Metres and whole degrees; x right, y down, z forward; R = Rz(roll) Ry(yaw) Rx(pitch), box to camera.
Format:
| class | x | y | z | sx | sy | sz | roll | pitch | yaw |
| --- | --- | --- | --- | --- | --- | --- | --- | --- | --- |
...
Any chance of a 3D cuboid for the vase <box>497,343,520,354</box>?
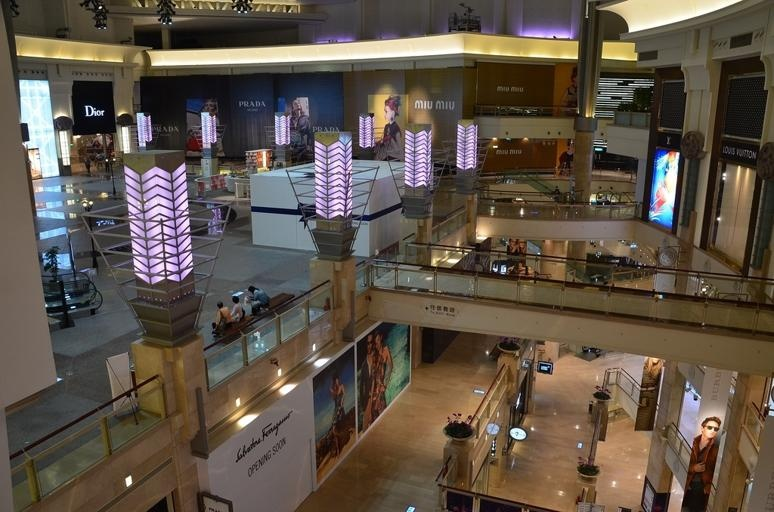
| class | x | y | z | sx | sy | sz | roll | pitch | yaw |
| --- | --- | --- | --- | --- | --- | --- | --- | --- | --- |
| vase | 3.879 | 2.941 | 17.567 | 0.608 | 0.208 | 0.419 | 2 | 15 | 20 |

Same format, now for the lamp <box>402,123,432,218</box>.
| class | x | y | z | sx | sy | sz | roll | pitch | yaw |
| --- | --- | --- | --- | --- | --- | --- | --- | --- | --- |
| lamp | 0.914 | -2.647 | 17.125 | 0.875 | 2.888 | 0.826 | 0 | 15 | 14 |

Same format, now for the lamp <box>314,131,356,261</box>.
| class | x | y | z | sx | sy | sz | roll | pitch | yaw |
| --- | --- | --- | --- | --- | --- | --- | --- | --- | --- |
| lamp | -1.310 | -1.517 | 13.412 | 1.236 | 3.007 | 1.251 | -9 | 16 | -36 |

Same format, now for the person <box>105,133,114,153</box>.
| class | x | y | z | sx | sy | sz | roll | pitch | yaw |
| --- | --- | --- | --- | --- | --- | --- | --- | --- | --- |
| person | -16.548 | -6.803 | 32.892 | 0.263 | 1.076 | 0.564 | -1 | 14 | 7 |

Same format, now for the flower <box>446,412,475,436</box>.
| class | x | y | z | sx | sy | sz | roll | pitch | yaw |
| --- | --- | --- | --- | --- | --- | --- | --- | --- | --- |
| flower | 1.908 | 4.388 | 14.286 | 0.732 | 0.405 | 0.726 | -7 | 15 | -21 |

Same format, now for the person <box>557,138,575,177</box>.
| class | x | y | z | sx | sy | sz | roll | pitch | yaw |
| --- | --- | --- | --- | --- | --- | --- | --- | --- | --- |
| person | 9.437 | -5.317 | 29.282 | 0.746 | 1.692 | 1.492 | 1 | 15 | 15 |

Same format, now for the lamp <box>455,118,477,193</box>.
| class | x | y | z | sx | sy | sz | roll | pitch | yaw |
| --- | --- | --- | --- | --- | --- | --- | --- | --- | --- |
| lamp | 2.892 | -3.634 | 20.069 | 0.747 | 2.646 | 0.388 | -3 | 14 | 0 |

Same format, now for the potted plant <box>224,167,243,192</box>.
| class | x | y | z | sx | sy | sz | roll | pitch | yaw |
| --- | --- | --- | --- | --- | --- | --- | --- | --- | --- |
| potted plant | -7.141 | -3.588 | 25.659 | 0.767 | 1.405 | 1.455 | 1 | 14 | 4 |

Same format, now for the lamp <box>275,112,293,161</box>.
| class | x | y | z | sx | sy | sz | roll | pitch | yaw |
| --- | --- | --- | --- | --- | --- | --- | --- | --- | --- |
| lamp | -4.841 | -5.409 | 25.422 | 0.857 | 2.539 | 0.942 | 6 | 11 | 19 |

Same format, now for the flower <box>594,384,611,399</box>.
| class | x | y | z | sx | sy | sz | roll | pitch | yaw |
| --- | --- | --- | --- | --- | --- | --- | --- | --- | --- |
| flower | 8.461 | 5.345 | 21.641 | 0.531 | 0.551 | 0.505 | 6 | 21 | 15 |

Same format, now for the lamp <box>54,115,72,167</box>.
| class | x | y | z | sx | sy | sz | roll | pitch | yaw |
| --- | --- | --- | --- | --- | --- | --- | --- | --- | --- |
| lamp | -16.953 | -5.909 | 28.971 | 0.371 | 3.014 | 0.989 | 11 | 20 | 16 |

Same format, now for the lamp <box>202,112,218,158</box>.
| class | x | y | z | sx | sy | sz | roll | pitch | yaw |
| --- | --- | --- | --- | --- | --- | --- | --- | --- | --- |
| lamp | -8.321 | -5.699 | 25.699 | 0.667 | 2.078 | 1.264 | -8 | 15 | -17 |

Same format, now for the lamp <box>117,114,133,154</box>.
| class | x | y | z | sx | sy | sz | roll | pitch | yaw |
| --- | --- | --- | --- | --- | --- | --- | --- | --- | --- |
| lamp | -15.053 | -7.039 | 31.809 | 0.976 | 2.107 | 0.623 | -2 | 36 | -22 |

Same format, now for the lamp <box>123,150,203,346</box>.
| class | x | y | z | sx | sy | sz | roll | pitch | yaw |
| --- | --- | --- | --- | --- | --- | --- | --- | --- | --- |
| lamp | -3.839 | -0.179 | 9.410 | 0.990 | 3.235 | 1.116 | -2 | 13 | 9 |
